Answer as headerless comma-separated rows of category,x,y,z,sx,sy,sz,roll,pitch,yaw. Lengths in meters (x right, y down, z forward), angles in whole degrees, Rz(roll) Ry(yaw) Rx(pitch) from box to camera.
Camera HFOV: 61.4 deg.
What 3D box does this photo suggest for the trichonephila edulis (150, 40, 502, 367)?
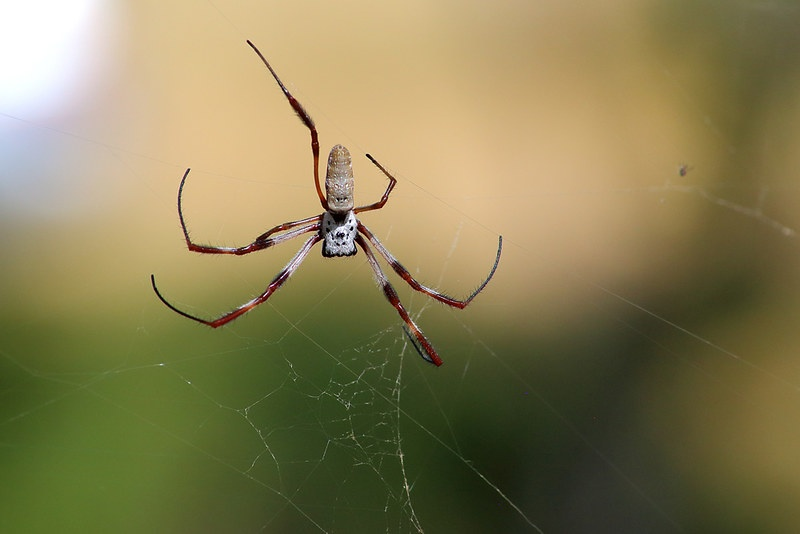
trichonephila edulis,-0.549,-0.077,5.288,2.220,0.967,1.817,32,-83,-11
